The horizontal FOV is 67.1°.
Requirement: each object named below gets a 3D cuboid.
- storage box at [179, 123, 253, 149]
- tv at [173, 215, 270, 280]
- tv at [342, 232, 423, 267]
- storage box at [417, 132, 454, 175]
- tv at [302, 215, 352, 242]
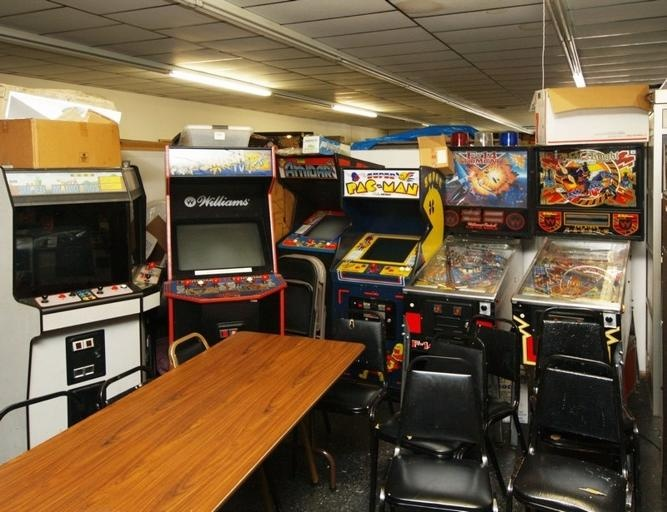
[{"bbox_3d":[-1.061,-1.057,4.490,0.399,0.110,0.385,-1,0,-3],"label":"storage box"},{"bbox_3d":[-1.022,0.102,4.536,0.897,0.542,0.442,1,-24,-16],"label":"tv"},{"bbox_3d":[0.460,-0.063,4.769,0.694,0.206,0.420,5,14,22],"label":"tv"},{"bbox_3d":[0.924,-0.930,4.599,0.330,0.320,0.335,0,3,20],"label":"storage box"},{"bbox_3d":[-0.056,-0.300,5.236,0.437,0.201,0.410,6,14,26],"label":"tv"}]
